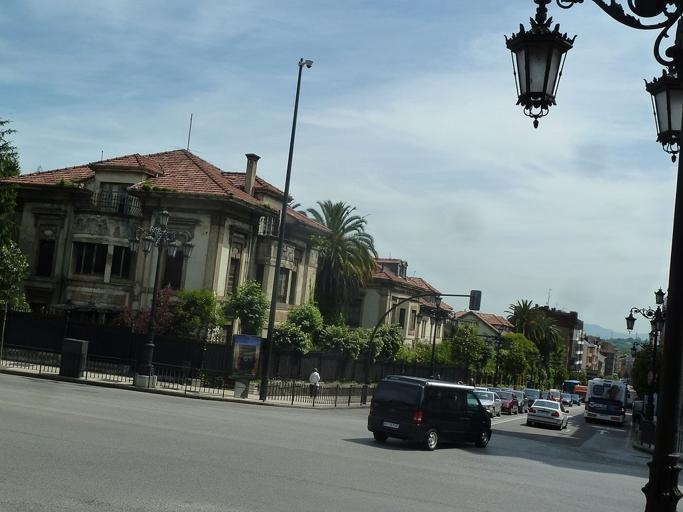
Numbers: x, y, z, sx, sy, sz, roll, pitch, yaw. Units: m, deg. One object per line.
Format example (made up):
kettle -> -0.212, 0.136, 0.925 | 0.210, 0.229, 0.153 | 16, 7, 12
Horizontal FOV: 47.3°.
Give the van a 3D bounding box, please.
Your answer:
van -> 2.739, 4.971, 24.594 | 2.026, 1.672, 3.587 | -1, -3, 44
